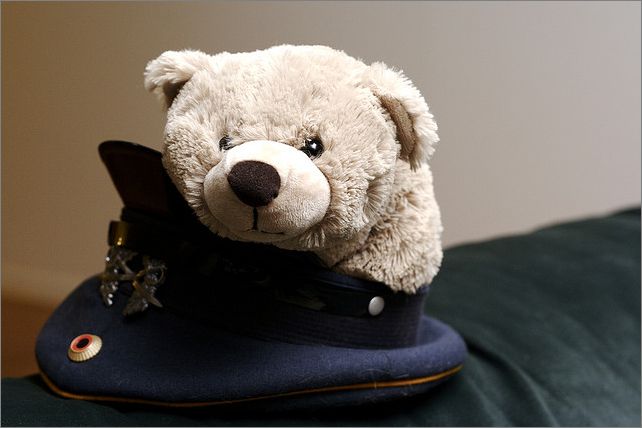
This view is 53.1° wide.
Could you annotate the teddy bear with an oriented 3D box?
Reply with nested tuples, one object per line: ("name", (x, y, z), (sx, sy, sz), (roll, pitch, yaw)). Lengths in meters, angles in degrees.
("teddy bear", (-0.038, -0.095, 1.119), (0.487, 0.383, 0.446), (-4, 21, -33))

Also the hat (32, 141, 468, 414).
("hat", (-0.094, 0.088, 1.264), (0.778, 0.397, 0.771), (3, 8, -14))
